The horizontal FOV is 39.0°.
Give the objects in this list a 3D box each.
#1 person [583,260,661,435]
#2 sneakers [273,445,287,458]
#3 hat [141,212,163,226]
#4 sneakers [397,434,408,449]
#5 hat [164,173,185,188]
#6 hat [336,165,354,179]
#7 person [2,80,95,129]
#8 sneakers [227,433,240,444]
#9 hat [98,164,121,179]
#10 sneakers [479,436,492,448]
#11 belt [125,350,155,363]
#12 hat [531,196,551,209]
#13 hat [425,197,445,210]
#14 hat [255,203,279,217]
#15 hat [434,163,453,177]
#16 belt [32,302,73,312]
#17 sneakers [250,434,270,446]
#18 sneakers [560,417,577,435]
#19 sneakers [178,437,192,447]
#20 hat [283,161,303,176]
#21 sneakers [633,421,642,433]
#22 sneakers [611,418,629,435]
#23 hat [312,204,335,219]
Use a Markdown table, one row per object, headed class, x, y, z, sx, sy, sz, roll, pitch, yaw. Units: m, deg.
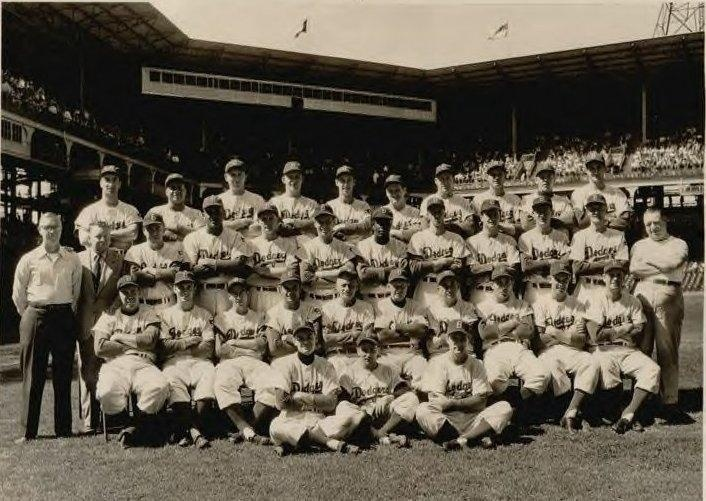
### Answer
| class | x | y | z | sx | sy | sz | roll | pitch | yaw |
| --- | --- | --- | --- | --- | --- | --- | --- | --- | --- |
| person | 5.315 | 1.904 | 19.884 | 1.283 | 3.309 | 0.810 | -2 | -2 | 4 |
| sneakers | -1.349 | 3.796 | 18.979 | 0.245 | 0.215 | 0.154 | -2 | -1 | -10 |
| hat | -3.981 | -0.614 | 20.101 | 0.395 | 0.275 | 0.336 | -2 | -1 | -11 |
| sneakers | 0.972 | 3.662 | 19.209 | 0.246 | 0.221 | 0.171 | -2 | -1 | -2 |
| hat | -3.665 | -1.435 | 20.774 | 0.311 | 0.292 | 0.421 | -2 | -1 | -4 |
| hat | -0.170 | -1.674 | 21.434 | 0.326 | 0.268 | 0.579 | -2 | -1 | -5 |
| person | -7.864 | -3.686 | 25.389 | 0.393 | 0.499 | 2.344 | -28 | -18 | 7 |
| sneakers | -2.281 | 3.612 | 19.249 | 0.330 | 0.182 | 0.158 | -3 | -2 | 30 |
| hat | -4.990 | -1.637 | 20.780 | 0.302 | 0.260 | 0.527 | -2 | -1 | -3 |
| sneakers | 2.560 | 3.661 | 19.090 | 0.167 | 0.175 | 0.231 | 0 | -17 | 0 |
| belt | -4.084 | 2.063 | 19.513 | 0.395 | 0.174 | 0.294 | 8 | -5 | 6 |
| hat | 3.928 | -0.994 | 20.788 | 0.399 | 0.253 | 0.339 | -2 | -1 | 9 |
| hat | 1.740 | -0.963 | 20.826 | 0.227 | 0.201 | 0.343 | -1 | -34 | 7 |
| hat | -1.704 | -0.820 | 20.375 | 0.396 | 0.279 | 0.538 | 1 | 6 | 4 |
| hat | 1.939 | -1.787 | 21.659 | 0.330 | 0.179 | 0.480 | -4 | -5 | -3 |
| belt | -5.907 | 1.113 | 19.728 | 0.801 | 0.152 | 0.200 | -1 | -1 | -25 |
| sneakers | -1.735 | 3.634 | 19.151 | 0.260 | 0.104 | 0.202 | 10 | -4 | 18 |
| sneakers | 4.213 | 3.402 | 19.527 | 0.173 | 0.279 | 0.382 | 0 | -1 | 26 |
| sneakers | -3.185 | 3.676 | 19.152 | 0.145 | 0.100 | 0.200 | 11 | -2 | -3 |
| hat | -1.278 | -1.757 | 21.336 | 0.298 | 0.247 | 0.449 | 1 | -3 | -11 |
| sneakers | 5.578 | 3.459 | 19.624 | 0.155 | 0.215 | 0.057 | 1 | -46 | -6 |
| sneakers | 5.208 | 3.434 | 19.524 | 0.299 | 0.145 | 0.225 | -7 | -24 | 21 |
| hat | -0.579 | -0.800 | 20.609 | 0.427 | 0.329 | 0.643 | -2 | -1 | -2 |
